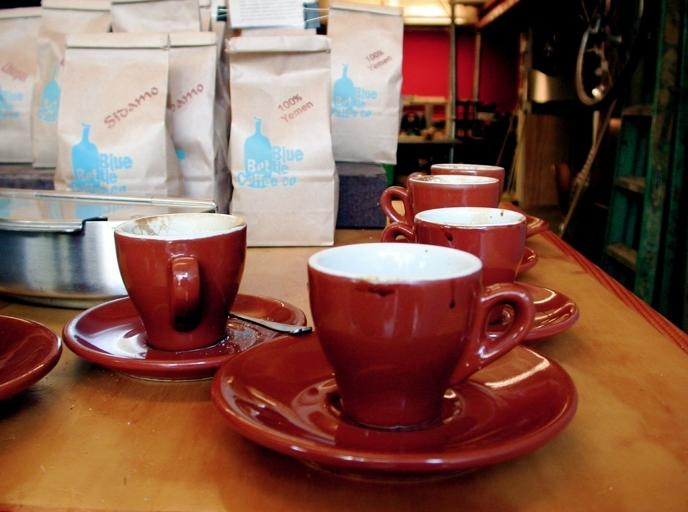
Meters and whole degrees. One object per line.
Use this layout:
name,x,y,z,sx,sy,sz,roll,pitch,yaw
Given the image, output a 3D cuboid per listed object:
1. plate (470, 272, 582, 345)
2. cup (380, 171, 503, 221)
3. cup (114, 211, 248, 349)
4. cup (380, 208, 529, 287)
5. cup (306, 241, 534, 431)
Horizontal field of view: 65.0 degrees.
plate,0.209,0.058,0.585,0.094,0.019,0.090,2,20,27
cup,0.133,-0.087,0.719,0.125,0.065,0.090,-4,14,4
cup,-0.164,0.015,0.563,0.115,0.103,0.143,-1,14,-10
cup,0.115,-0.014,0.572,0.105,0.048,0.081,2,8,26
cup,0.057,0.057,0.400,0.179,0.127,0.139,1,5,4
